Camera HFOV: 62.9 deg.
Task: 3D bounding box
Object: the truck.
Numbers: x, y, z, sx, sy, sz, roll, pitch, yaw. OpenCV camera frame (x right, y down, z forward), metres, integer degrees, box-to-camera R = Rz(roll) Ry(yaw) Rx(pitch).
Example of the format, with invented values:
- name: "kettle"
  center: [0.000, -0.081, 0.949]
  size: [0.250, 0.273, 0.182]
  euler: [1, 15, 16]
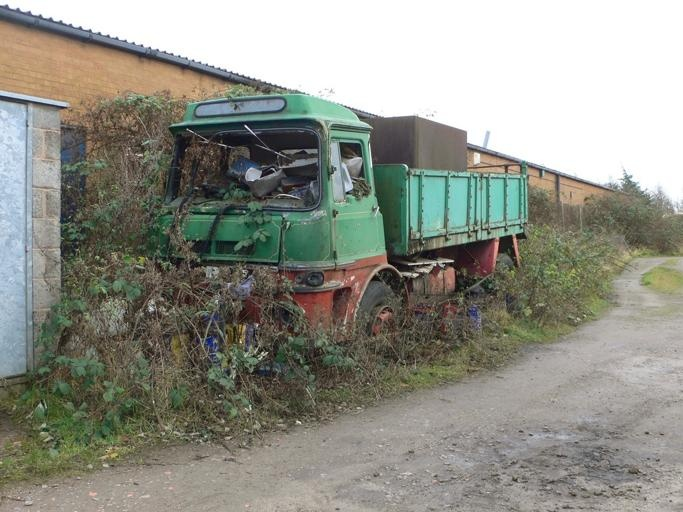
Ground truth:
- name: "truck"
  center: [0.602, -0.731, 10.116]
  size: [3.167, 3.366, 7.383]
  euler: [6, 8, 36]
